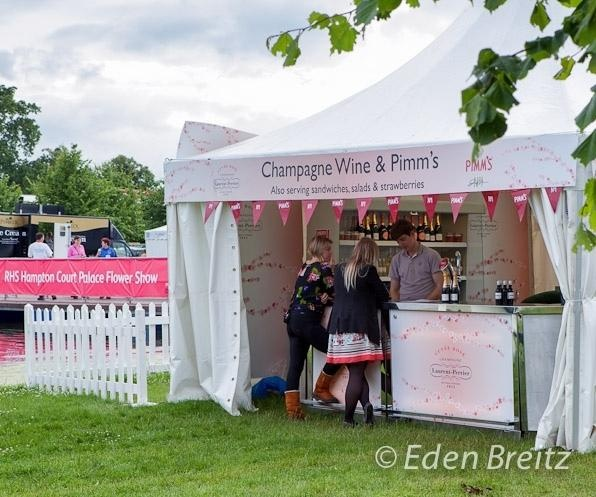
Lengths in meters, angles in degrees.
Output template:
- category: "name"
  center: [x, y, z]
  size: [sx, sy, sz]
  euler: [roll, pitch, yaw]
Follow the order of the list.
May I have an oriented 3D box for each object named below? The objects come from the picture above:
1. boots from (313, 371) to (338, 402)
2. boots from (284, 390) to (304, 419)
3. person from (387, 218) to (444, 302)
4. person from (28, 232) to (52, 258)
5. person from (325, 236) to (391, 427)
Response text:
- category: "boots"
  center: [0.308, 1.528, 11.084]
  size: [0.263, 0.298, 0.141]
  euler: [18, 5, 17]
- category: "boots"
  center: [-0.041, 1.676, 10.788]
  size: [0.261, 0.357, 0.176]
  euler: [2, -3, -31]
- category: "person"
  center: [1.290, 0.285, 11.196]
  size: [0.563, 1.138, 0.563]
  euler: [-3, -21, 3]
- category: "person"
  center: [-5.677, -0.072, 22.454]
  size: [0.488, 0.650, 1.254]
  euler: [1, -5, -15]
- category: "person"
  center: [0.624, 0.859, 10.452]
  size: [0.639, 1.925, 0.377]
  euler: [0, -4, 2]
